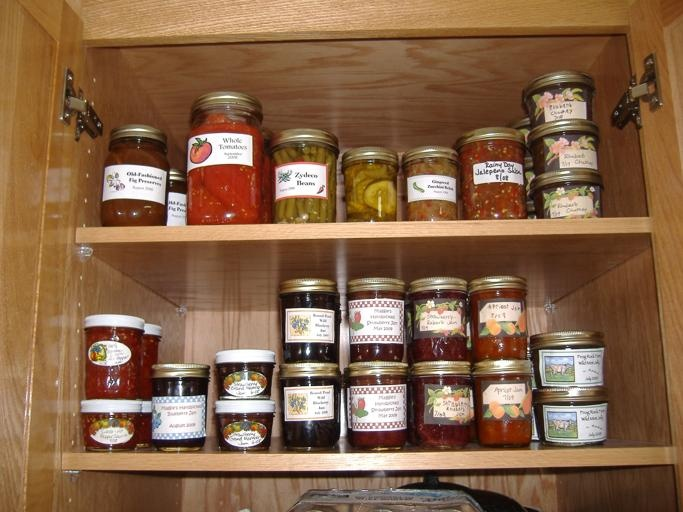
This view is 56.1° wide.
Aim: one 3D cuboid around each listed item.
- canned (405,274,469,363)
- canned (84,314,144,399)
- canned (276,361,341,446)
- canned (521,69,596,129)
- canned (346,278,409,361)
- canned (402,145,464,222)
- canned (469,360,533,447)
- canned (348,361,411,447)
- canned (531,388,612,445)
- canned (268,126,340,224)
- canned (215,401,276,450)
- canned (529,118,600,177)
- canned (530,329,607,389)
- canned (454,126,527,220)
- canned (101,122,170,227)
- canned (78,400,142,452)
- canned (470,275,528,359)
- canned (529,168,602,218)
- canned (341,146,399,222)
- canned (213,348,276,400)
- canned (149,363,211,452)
[{"bbox_3d":[0.229,0.155,1.513,0.145,0.191,0.126,-3,-14,21],"label":"canned"},{"bbox_3d":[-0.505,0.227,1.453,0.133,0.183,0.128,2,-8,-20],"label":"canned"},{"bbox_3d":[-0.078,0.343,1.468,0.163,0.195,0.130,1,-13,-17],"label":"canned"},{"bbox_3d":[0.536,-0.364,1.552,0.167,0.112,0.159,-3,2,-20],"label":"canned"},{"bbox_3d":[0.080,0.156,1.514,0.153,0.197,0.131,-1,-8,16],"label":"canned"},{"bbox_3d":[0.214,-0.151,1.532,0.123,0.176,0.122,-5,-12,31],"label":"canned"},{"bbox_3d":[0.364,0.334,1.464,0.141,0.192,0.130,3,-8,-19],"label":"canned"},{"bbox_3d":[0.083,0.343,1.460,0.148,0.188,0.119,-1,-14,3],"label":"canned"},{"bbox_3d":[0.535,0.370,1.496,0.182,0.124,0.175,0,-11,-5],"label":"canned"},{"bbox_3d":[-0.088,-0.169,1.519,0.155,0.220,0.146,-3,-7,29],"label":"canned"},{"bbox_3d":[-0.215,0.389,1.469,0.143,0.097,0.135,-4,-14,12],"label":"canned"},{"bbox_3d":[0.536,-0.229,1.525,0.145,0.121,0.144,-11,-14,29],"label":"canned"},{"bbox_3d":[0.519,0.232,1.469,0.150,0.102,0.142,0,-10,0],"label":"canned"},{"bbox_3d":[0.362,-0.170,1.531,0.165,0.230,0.156,-5,-12,24],"label":"canned"},{"bbox_3d":[-0.482,-0.177,1.505,0.155,0.224,0.143,4,-3,-1],"label":"canned"},{"bbox_3d":[-0.512,0.380,1.421,0.127,0.090,0.122,2,-21,-25],"label":"canned"},{"bbox_3d":[0.362,0.144,1.471,0.135,0.192,0.083,-6,-12,9],"label":"canned"},{"bbox_3d":[0.528,-0.125,1.505,0.168,0.116,0.163,-4,-9,30],"label":"canned"},{"bbox_3d":[0.044,-0.160,1.572,0.192,0.185,0.174,-3,3,-15],"label":"canned"},{"bbox_3d":[-0.225,0.284,1.519,0.151,0.108,0.150,7,-16,-34],"label":"canned"},{"bbox_3d":[-0.368,0.350,1.469,0.139,0.185,0.121,1,-13,-14],"label":"canned"}]
